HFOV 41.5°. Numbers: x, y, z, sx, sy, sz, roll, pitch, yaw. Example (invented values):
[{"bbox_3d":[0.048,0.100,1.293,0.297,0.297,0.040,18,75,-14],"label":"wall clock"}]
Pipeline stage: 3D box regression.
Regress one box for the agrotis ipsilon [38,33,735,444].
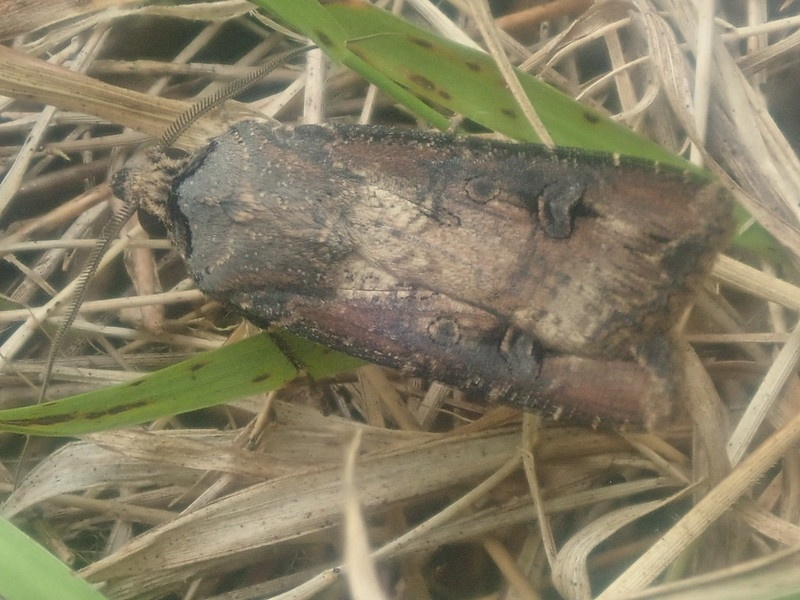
[{"bbox_3d":[-0.002,-0.154,2.801,1.535,0.326,0.628,9,101,-2],"label":"agrotis ipsilon"}]
